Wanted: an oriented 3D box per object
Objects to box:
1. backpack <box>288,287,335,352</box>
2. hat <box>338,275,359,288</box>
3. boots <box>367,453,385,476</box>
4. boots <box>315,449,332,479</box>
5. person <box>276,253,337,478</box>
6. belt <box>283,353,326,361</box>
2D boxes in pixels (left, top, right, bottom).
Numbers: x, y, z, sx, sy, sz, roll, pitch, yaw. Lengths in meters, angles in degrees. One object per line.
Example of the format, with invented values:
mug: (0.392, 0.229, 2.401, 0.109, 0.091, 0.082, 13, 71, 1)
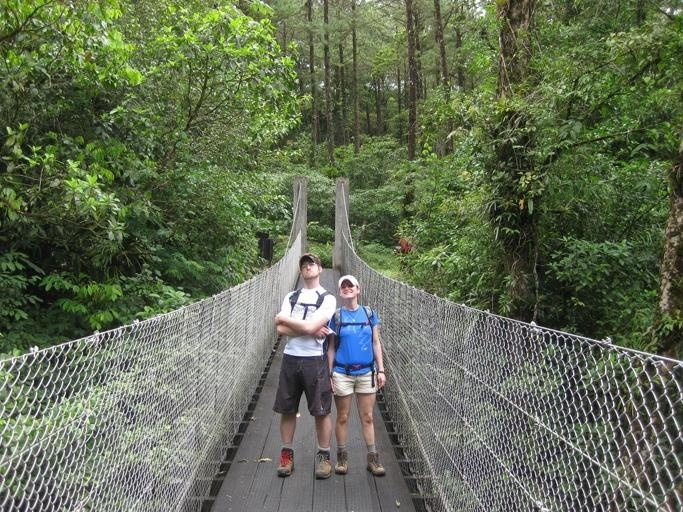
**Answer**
backpack: (-0.244, 0.504, 4.427, 0.348, 0.618, 0.321, -1, -22, 16)
hat: (0.058, 0.204, 4.622, 0.140, 0.122, 0.250, -1, -6, -3)
boots: (0.274, 1.654, 4.465, 0.078, 0.175, 0.242, 2, -15, -22)
boots: (-0.146, 1.641, 4.402, 0.083, 0.175, 0.272, -2, -28, 3)
person: (-0.289, 0.867, 4.498, 0.480, 1.752, 0.482, 0, 7, -1)
belt: (-0.292, 0.785, 4.410, 0.320, 0.042, 0.061, 1, 8, 1)
